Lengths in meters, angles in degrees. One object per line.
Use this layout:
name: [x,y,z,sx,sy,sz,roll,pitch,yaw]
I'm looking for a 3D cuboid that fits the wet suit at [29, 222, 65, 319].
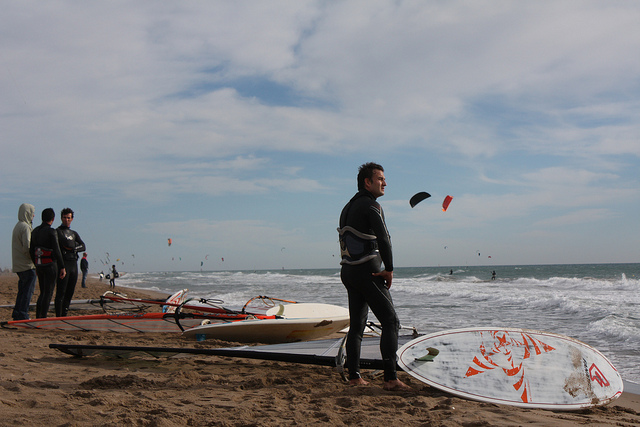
wet suit: [-4.444,0.946,7.831,0.817,1.569,0.495,3,-3,42]
